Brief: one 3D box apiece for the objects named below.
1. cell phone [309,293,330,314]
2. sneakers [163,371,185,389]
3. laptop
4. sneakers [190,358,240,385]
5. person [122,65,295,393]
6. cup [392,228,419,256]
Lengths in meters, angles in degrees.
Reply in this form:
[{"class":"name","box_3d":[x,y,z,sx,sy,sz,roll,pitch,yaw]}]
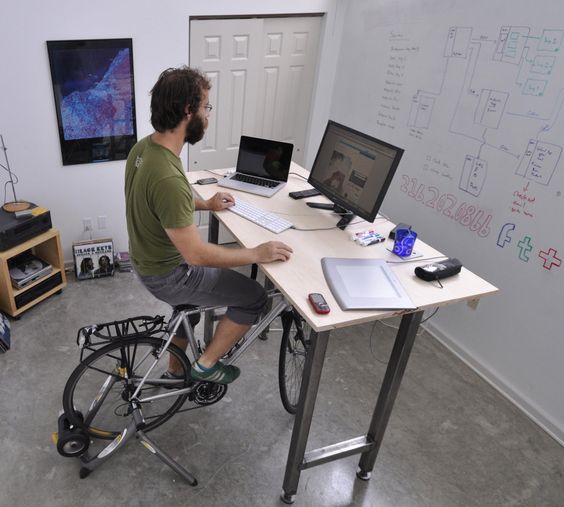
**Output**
[{"class":"cell phone","box_3d":[0.142,0.194,1.650,0.063,0.029,0.112,0,27,-18]},{"class":"sneakers","box_3d":[-0.549,0.687,2.304,0.165,0.072,0.061,15,15,-39]},{"class":"laptop","box_3d":[-0.167,-0.440,2.654,0.447,0.327,0.394,19,39,12]},{"class":"sneakers","box_3d":[-0.349,0.589,2.225,0.223,0.108,0.113,-5,28,-31]},{"class":"person","box_3d":[-0.369,-0.029,1.973,0.642,1.488,0.476,-2,27,-22]},{"class":"cup","box_3d":[0.584,-0.062,2.118,0.113,0.140,0.128,7,25,3]}]
